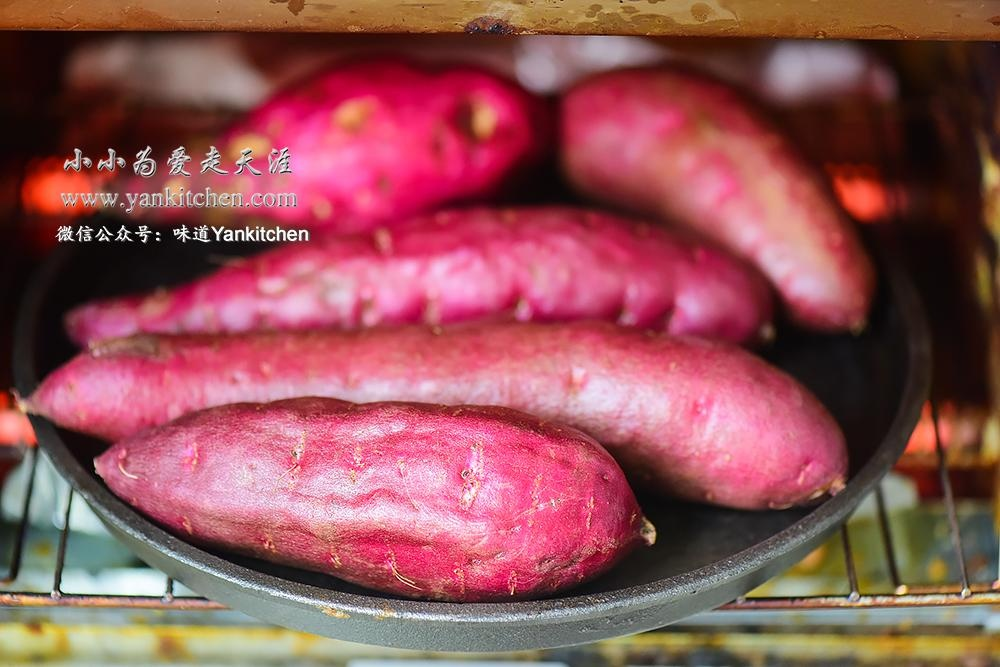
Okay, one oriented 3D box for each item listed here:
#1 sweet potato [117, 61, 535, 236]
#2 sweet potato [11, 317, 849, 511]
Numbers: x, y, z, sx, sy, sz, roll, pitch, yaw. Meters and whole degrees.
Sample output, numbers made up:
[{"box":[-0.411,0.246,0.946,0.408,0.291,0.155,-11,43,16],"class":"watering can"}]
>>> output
[{"box":[-0.171,-0.220,1.120,0.507,0.184,0.186,-11,51,-4],"class":"sweet potato"},{"box":[-0.079,0.091,1.006,0.873,0.162,0.178,1,16,-1],"class":"sweet potato"}]
